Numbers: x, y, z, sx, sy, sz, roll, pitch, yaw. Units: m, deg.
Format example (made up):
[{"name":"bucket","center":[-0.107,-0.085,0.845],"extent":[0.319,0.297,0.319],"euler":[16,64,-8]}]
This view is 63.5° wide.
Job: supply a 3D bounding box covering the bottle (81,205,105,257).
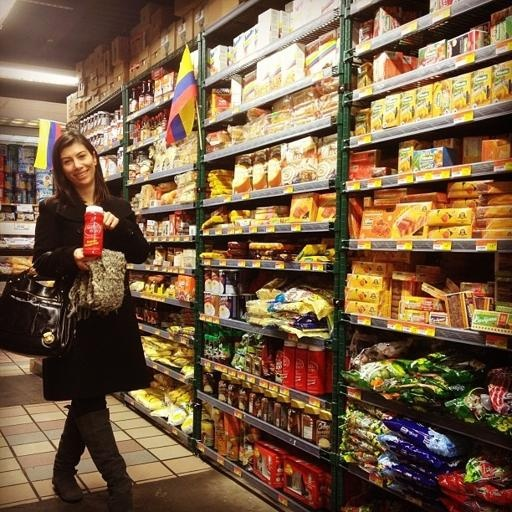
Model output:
[{"name":"bottle","center":[-0.719,-0.103,1.854],"extent":[0.083,0.225,0.140],"euler":[4,-6,-21]}]
